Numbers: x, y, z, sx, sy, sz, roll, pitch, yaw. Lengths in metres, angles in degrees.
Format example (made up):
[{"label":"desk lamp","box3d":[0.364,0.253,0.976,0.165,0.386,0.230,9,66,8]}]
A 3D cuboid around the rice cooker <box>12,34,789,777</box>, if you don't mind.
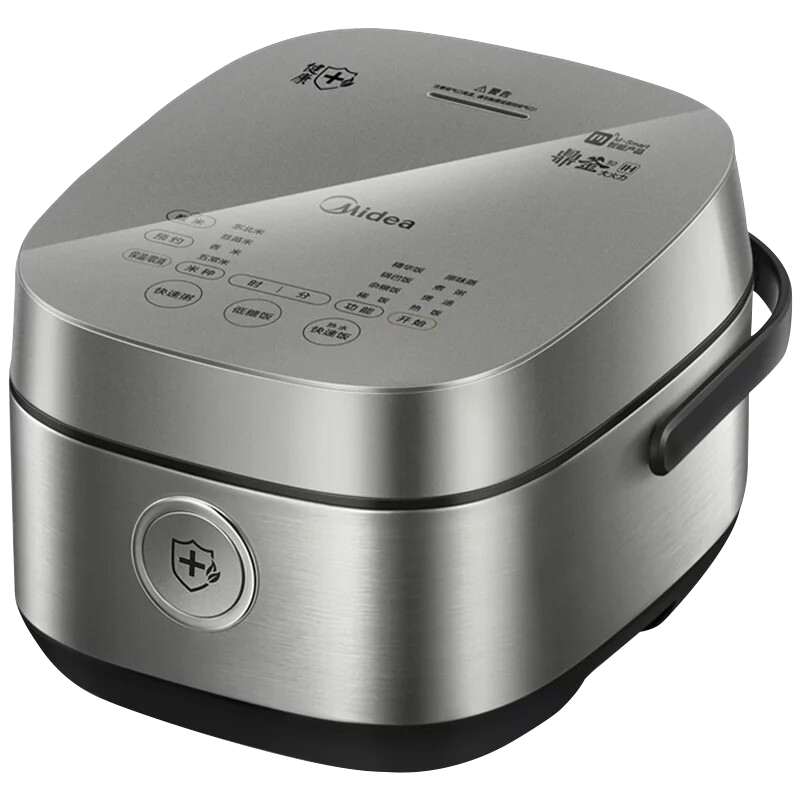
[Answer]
[{"label":"rice cooker","box3d":[0.022,-0.039,0.780,0.510,0.302,0.530,16,31,26]}]
